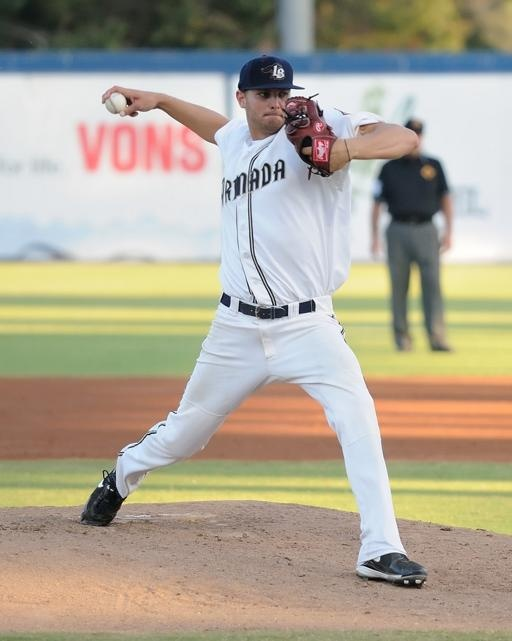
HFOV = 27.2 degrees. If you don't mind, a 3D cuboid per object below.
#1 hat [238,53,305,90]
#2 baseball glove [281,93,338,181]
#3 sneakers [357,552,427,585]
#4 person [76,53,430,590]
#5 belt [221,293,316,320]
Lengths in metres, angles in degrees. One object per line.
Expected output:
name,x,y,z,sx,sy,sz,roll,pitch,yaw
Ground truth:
hat,0.039,-0.872,3.704,0.139,0.078,0.187,-4,8,-30
baseball glove,0.178,-0.620,3.471,0.174,0.276,0.294,4,5,-13
sneakers,0.440,0.800,3.440,0.232,0.088,0.091,3,0,26
person,0.068,-0.032,3.722,1.369,1.790,0.428,9,6,42
belt,0.014,-0.049,3.685,0.373,0.078,0.126,7,6,42
